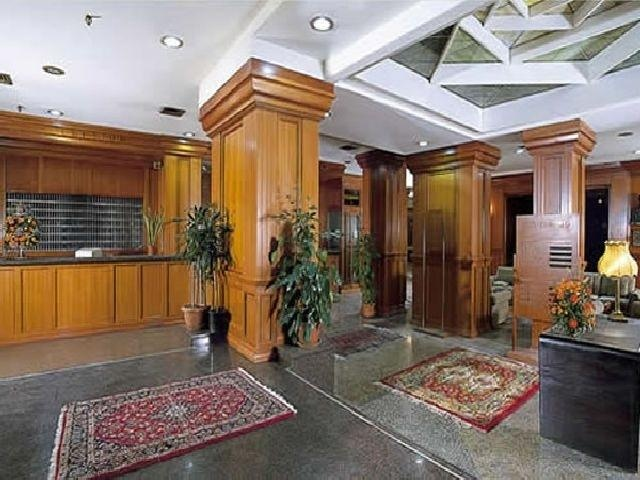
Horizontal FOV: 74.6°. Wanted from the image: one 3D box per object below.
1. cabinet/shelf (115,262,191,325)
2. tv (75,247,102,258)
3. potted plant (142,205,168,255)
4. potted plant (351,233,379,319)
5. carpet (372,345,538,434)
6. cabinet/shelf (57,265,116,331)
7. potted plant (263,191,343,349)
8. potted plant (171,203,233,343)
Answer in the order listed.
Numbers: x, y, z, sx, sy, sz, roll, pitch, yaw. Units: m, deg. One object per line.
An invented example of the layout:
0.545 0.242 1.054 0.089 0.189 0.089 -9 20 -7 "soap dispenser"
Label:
-3.005 0.931 7.357 1.312 1.118 0.449 0 3 -31 "cabinet/shelf"
-4.092 0.203 7.388 0.378 0.108 1.006 -5 13 -30 "tv"
-3.243 -0.213 8.199 0.379 0.816 1.206 -4 12 -24 "potted plant"
0.974 0.745 9.065 0.550 1.714 0.585 2 12 3 "potted plant"
1.897 1.863 5.560 1.826 0.157 1.566 -9 15 -42 "carpet"
-3.858 0.926 6.903 0.857 1.076 0.303 -5 14 -28 "cabinet/shelf"
-0.239 0.376 4.988 0.663 1.777 0.672 -9 16 -40 "potted plant"
-1.602 0.412 5.840 0.661 1.775 0.840 -4 13 -22 "potted plant"
